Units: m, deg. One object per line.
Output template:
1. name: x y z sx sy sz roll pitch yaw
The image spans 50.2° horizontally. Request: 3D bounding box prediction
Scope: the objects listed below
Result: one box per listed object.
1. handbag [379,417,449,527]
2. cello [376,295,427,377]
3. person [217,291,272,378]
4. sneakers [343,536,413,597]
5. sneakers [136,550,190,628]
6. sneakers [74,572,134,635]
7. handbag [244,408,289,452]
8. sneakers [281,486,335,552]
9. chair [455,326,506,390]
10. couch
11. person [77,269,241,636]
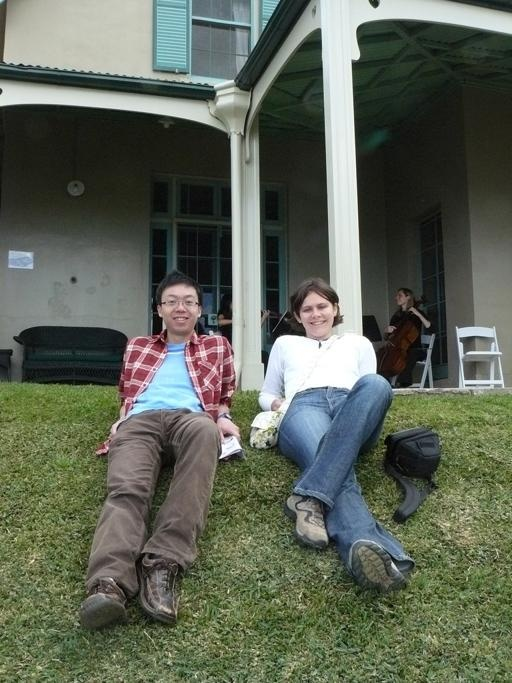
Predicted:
1. handbag: 0.686 0.549 2.342 0.321 0.306 0.264 2 6 -12
2. cello: 2.069 -0.042 7.688 0.871 1.328 0.337 -1 1 -17
3. person: -0.167 -0.348 7.701 0.763 0.856 0.538 1 -6 1
4. sneakers: 0.369 0.691 1.682 0.178 0.171 0.089 3 8 11
5. sneakers: -0.276 0.713 1.561 0.142 0.113 0.312 0 1 -6
6. sneakers: -0.408 0.700 1.471 0.116 0.134 0.187 0 8 -10
7. handbag: 0.049 0.436 2.717 0.200 0.208 0.087 -3 18 -26
8. sneakers: 0.182 0.620 1.943 0.116 0.138 0.227 0 8 -4
9. chair: 2.965 0.211 7.202 0.594 1.119 0.590 1 -24 1
10. couch: -2.797 0.275 8.111 1.676 0.981 1.092 -1 6 -35
11. person: -0.407 0.224 2.122 0.600 0.936 1.597 2 8 3
